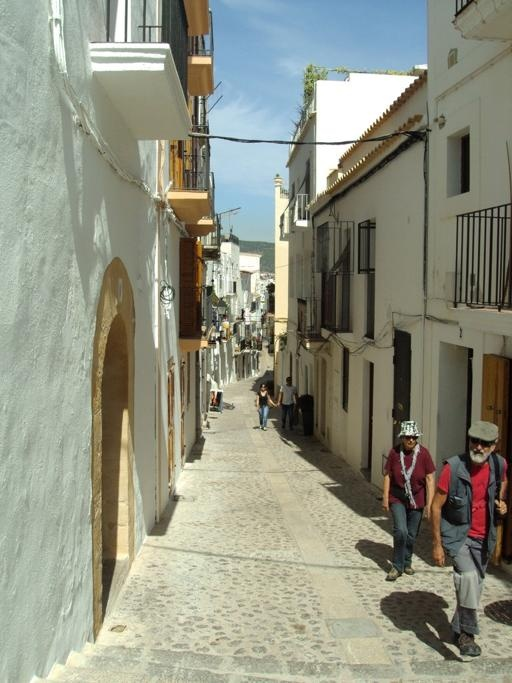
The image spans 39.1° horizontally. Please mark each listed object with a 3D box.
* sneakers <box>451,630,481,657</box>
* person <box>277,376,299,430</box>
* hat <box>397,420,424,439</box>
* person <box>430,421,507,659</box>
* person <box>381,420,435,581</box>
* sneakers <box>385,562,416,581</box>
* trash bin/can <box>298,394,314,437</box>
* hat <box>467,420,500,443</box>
[{"bbox_3d":[1.374,1.932,4.692,0.158,0.267,0.090,-1,-3,-21],"label":"sneakers"},{"bbox_3d":[0.898,1.644,19.936,0.399,1.719,0.335,4,27,7],"label":"person"},{"bbox_3d":[1.339,0.766,6.327,0.176,0.188,0.262,0,-8,-3],"label":"hat"},{"bbox_3d":[1.411,1.265,4.747,0.488,1.473,0.367,0,-1,13],"label":"person"},{"bbox_3d":[1.343,1.393,6.354,0.427,1.395,0.559,0,-1,14],"label":"person"},{"bbox_3d":[1.270,2.036,6.395,0.280,0.202,0.115,3,-8,-35],"label":"sneakers"},{"bbox_3d":[1.351,1.967,19.185,0.376,1.054,0.597,0,-1,4],"label":"trash bin/can"},{"bbox_3d":[1.500,0.595,4.753,0.170,0.129,0.212,0,-2,34],"label":"hat"}]
